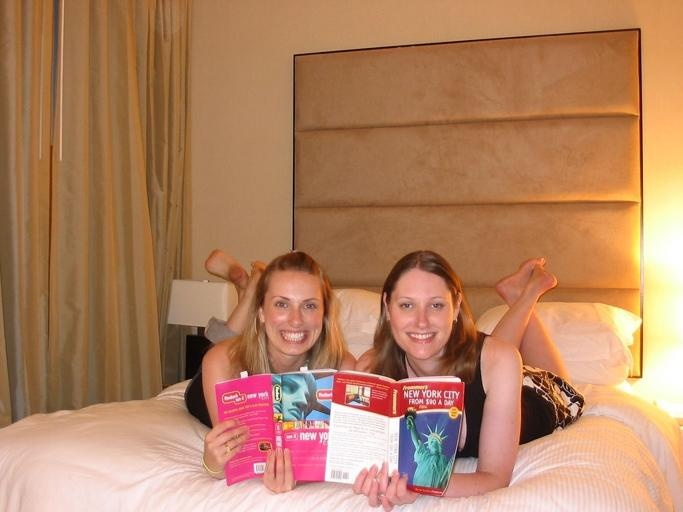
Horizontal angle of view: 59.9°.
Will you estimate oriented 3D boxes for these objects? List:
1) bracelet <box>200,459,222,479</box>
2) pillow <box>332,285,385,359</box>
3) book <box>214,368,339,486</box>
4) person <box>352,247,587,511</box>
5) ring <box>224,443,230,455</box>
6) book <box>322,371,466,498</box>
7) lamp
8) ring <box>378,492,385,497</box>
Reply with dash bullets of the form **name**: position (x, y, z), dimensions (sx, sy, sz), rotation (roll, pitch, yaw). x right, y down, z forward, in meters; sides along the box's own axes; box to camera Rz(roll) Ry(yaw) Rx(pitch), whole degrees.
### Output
- **bracelet**: position (-0.428, 0.708, 1.957), dimensions (0.059, 0.030, 0.072), rotation (13, -14, 10)
- **pillow**: position (0.092, 0.357, 3.240), dimensions (0.232, 0.329, 0.088), rotation (2, -19, 12)
- **book**: position (-0.198, 0.540, 1.854), dimensions (0.361, 0.340, 0.042), rotation (-1, 2, 3)
- **person**: position (0.445, 0.415, 2.314), dimensions (0.550, 0.630, 1.231), rotation (-9, 0, 38)
- **ring**: position (-0.360, 0.609, 1.869), dimensions (0.023, 0.032, 0.009), rotation (-2, -3, 45)
- **book**: position (0.153, 0.550, 1.825), dimensions (0.479, 0.378, 0.122), rotation (0, -3, 3)
- **lamp**: position (-0.842, 0.407, 3.490), dimensions (0.479, 0.817, 0.259), rotation (3, 2, 25)
- **ring**: position (0.123, 0.729, 1.806), dimensions (0.013, 0.010, 0.013), rotation (0, -8, 0)
